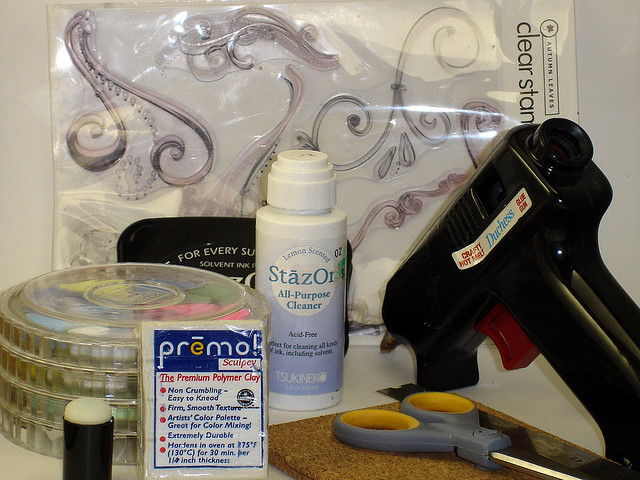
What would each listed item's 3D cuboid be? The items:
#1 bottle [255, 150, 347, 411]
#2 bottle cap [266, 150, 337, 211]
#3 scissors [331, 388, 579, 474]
[{"bbox_3d":[-0.017,0.038,0.623,0.089,0.232,0.089,1,10,0],"label":"bottle"},{"bbox_3d":[-0.018,-0.059,0.592,0.049,0.053,0.050,-7,17,-19],"label":"bottle cap"},{"bbox_3d":[0.109,0.156,0.550,0.194,0.034,0.094,4,12,21],"label":"scissors"}]
